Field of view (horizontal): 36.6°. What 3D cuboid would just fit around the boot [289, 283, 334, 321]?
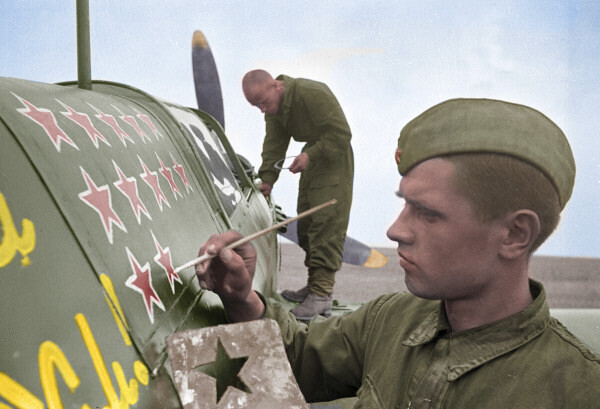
[{"bbox_3d":[0.067,0.727,6.544,0.386,0.295,0.163,1,-5,-28],"label":"boot"}]
